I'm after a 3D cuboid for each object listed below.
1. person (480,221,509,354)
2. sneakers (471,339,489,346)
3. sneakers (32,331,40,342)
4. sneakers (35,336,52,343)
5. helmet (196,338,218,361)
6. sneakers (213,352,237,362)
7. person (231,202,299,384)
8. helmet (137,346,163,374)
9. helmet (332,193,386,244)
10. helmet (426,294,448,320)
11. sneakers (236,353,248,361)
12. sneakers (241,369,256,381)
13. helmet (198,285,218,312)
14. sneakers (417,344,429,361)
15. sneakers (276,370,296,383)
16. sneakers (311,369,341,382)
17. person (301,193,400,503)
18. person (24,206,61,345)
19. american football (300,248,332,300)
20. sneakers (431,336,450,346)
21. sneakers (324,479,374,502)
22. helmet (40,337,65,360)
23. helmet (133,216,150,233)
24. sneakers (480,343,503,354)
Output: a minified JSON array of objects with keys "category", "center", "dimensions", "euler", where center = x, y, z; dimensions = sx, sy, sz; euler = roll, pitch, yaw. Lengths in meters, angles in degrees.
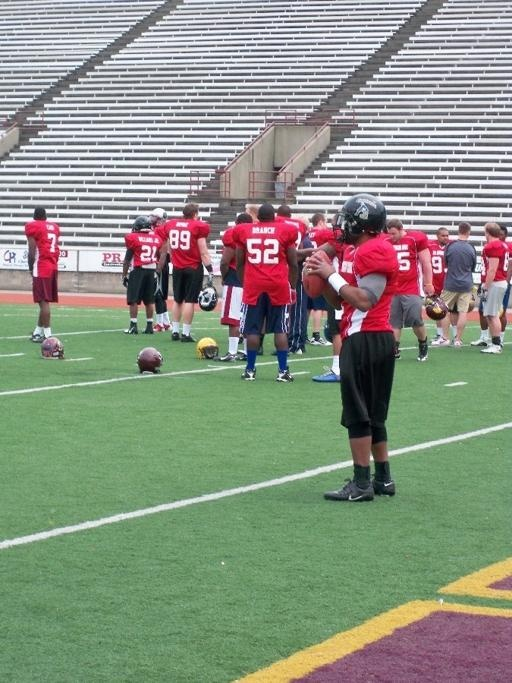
[{"category":"person","center":[2.802,-0.629,14.696],"dimensions":[0.323,1.473,1.292],"euler":[1,3,10]},{"category":"sneakers","center":[2.733,0.007,15.375],"dimensions":[0.219,0.101,0.078],"euler":[5,7,36]},{"category":"sneakers","center":[-2.522,-0.054,14.390],"dimensions":[0.054,0.069,0.148],"euler":[0,10,-18]},{"category":"sneakers","center":[-2.344,-0.035,13.809],"dimensions":[0.136,0.061,0.047],"euler":[-8,9,4]},{"category":"helmet","center":[-0.502,0.068,13.017],"dimensions":[0.169,0.190,0.231],"euler":[1,6,1]},{"category":"sneakers","center":[-0.314,0.148,12.802],"dimensions":[0.243,0.106,0.083],"euler":[1,3,-10]},{"category":"person","center":[0.066,-0.333,10.825],"dimensions":[0.546,1.382,0.464],"euler":[1,3,-1]},{"category":"helmet","center":[-0.984,0.171,11.479],"dimensions":[0.205,0.224,0.309],"euler":[0,4,-8]},{"category":"helmet","center":[0.509,-0.611,6.213],"dimensions":[0.243,0.247,0.267],"euler":[1,3,3]},{"category":"helmet","center":[1.950,-0.374,13.566],"dimensions":[0.206,0.259,0.254],"euler":[-1,4,-16]},{"category":"sneakers","center":[-0.155,0.149,12.763],"dimensions":[0.108,0.063,0.146],"euler":[0,-2,0]},{"category":"sneakers","center":[-0.067,0.292,11.115],"dimensions":[0.088,0.104,0.241],"euler":[2,4,-4]},{"category":"helmet","center":[-0.568,-0.493,14.659],"dimensions":[0.207,0.281,0.281],"euler":[4,13,-4]},{"category":"sneakers","center":[1.766,0.066,13.311],"dimensions":[0.082,0.247,0.164],"euler":[2,-29,15]},{"category":"sneakers","center":[0.264,0.304,11.143],"dimensions":[0.066,0.092,0.204],"euler":[8,6,22]},{"category":"sneakers","center":[0.641,0.295,11.262],"dimensions":[0.281,0.122,0.102],"euler":[-1,0,-33]},{"category":"person","center":[0.481,0.032,6.254],"dimensions":[0.434,1.529,0.496],"euler":[1,3,6]},{"category":"person","center":[-2.421,-0.737,14.145],"dimensions":[0.358,1.528,0.745],"euler":[0,3,-11]},{"category":"american football","center":[0.291,-0.272,6.229],"dimensions":[0.141,0.134,0.213],"euler":[-1,-37,-5]},{"category":"sneakers","center":[2.245,-0.004,15.443],"dimensions":[0.249,0.114,0.090],"euler":[1,-1,-27]},{"category":"sneakers","center":[0.470,0.746,6.341],"dimensions":[0.266,0.121,0.098],"euler":[1,-12,1]},{"category":"helmet","center":[-2.053,0.067,12.672],"dimensions":[0.204,0.209,0.306],"euler":[0,4,-7]},{"category":"helmet","center":[-1.478,-1.522,16.049],"dimensions":[0.209,0.196,0.163],"euler":[32,28,13]},{"category":"sneakers","center":[2.710,0.075,14.427],"dimensions":[0.308,0.135,0.108],"euler":[0,3,2]}]
